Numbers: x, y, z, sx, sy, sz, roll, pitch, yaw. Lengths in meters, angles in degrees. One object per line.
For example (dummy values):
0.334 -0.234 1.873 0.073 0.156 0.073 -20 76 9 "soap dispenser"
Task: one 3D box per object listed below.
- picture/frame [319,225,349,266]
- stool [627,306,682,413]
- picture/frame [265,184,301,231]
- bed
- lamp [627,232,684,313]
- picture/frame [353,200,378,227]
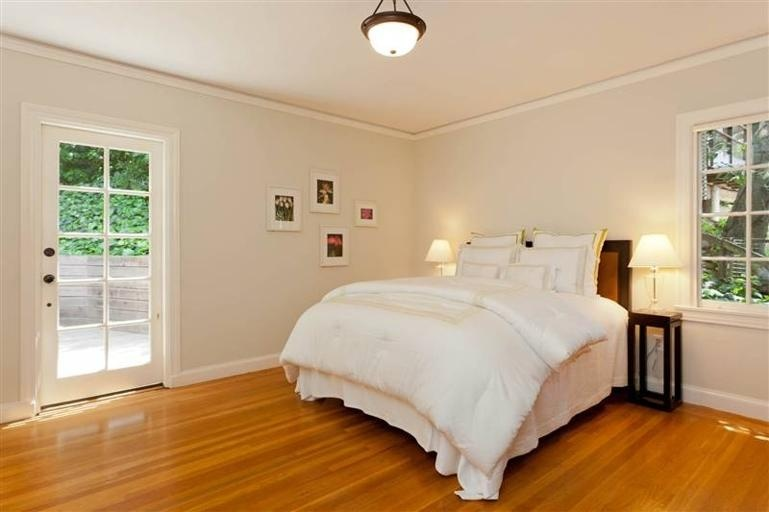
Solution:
-0.655 -0.139 6.309 0.552 0.596 0.041 1 -2 -44 "picture/frame"
2.645 0.972 4.870 0.480 0.910 0.492 1 4 30 "stool"
-1.216 -0.571 5.884 0.596 0.636 0.022 2 0 -42 "picture/frame"
0.766 0.832 4.513 3.065 1.811 1.856 -2 3 -17 "bed"
2.654 0.160 4.886 0.445 0.748 0.401 1 4 27 "lamp"
-0.272 -0.567 6.617 0.386 0.331 0.043 1 -3 -40 "picture/frame"
